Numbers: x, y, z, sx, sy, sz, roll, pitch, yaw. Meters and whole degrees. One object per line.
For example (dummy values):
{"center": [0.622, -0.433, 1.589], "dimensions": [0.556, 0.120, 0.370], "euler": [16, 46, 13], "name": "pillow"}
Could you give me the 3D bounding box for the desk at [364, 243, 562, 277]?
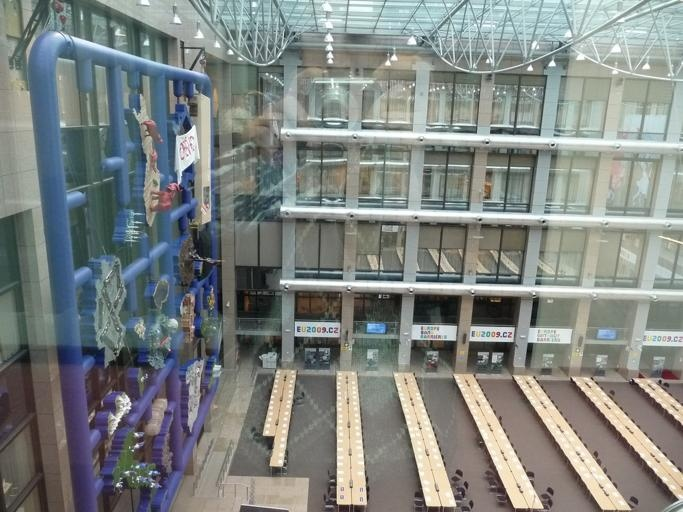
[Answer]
{"center": [4.621, 0.374, 19.422], "dimensions": [6.258, 0.648, 1.087], "euler": [-1, -82, -4], "name": "desk"}
